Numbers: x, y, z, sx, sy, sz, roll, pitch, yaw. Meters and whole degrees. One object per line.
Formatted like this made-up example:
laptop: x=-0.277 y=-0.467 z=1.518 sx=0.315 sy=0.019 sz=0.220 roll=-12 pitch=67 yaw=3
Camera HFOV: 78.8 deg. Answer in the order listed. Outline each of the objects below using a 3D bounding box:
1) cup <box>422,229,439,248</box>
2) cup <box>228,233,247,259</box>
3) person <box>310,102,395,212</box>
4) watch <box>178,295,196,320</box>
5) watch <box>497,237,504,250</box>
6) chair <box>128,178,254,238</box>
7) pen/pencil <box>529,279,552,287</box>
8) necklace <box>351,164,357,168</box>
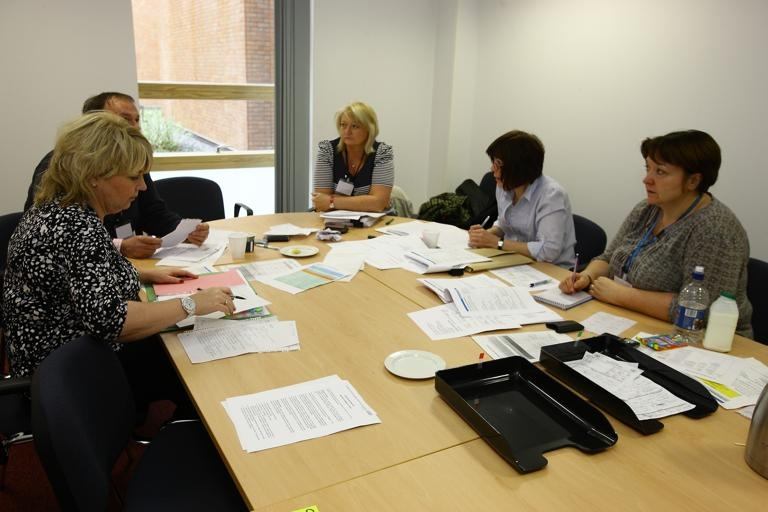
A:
cup: x=0.292 y=-0.109 z=2.943 sx=0.110 sy=0.084 sz=0.104 roll=-3 pitch=16 yaw=1
cup: x=-0.822 y=-0.054 z=2.660 sx=0.145 sy=0.136 sz=0.134 roll=0 pitch=6 yaw=0
person: x=-0.237 y=-0.768 z=3.683 sx=0.626 sy=0.817 sz=0.559 roll=-1 pitch=20 yaw=-3
watch: x=-0.810 y=0.220 z=1.962 sx=0.062 sy=0.088 sz=0.093 roll=-27 pitch=19 yaw=-34
watch: x=0.732 y=-0.074 z=2.938 sx=0.047 sy=0.059 sz=0.067 roll=9 pitch=30 yaw=4
chair: x=-1.617 y=-0.483 z=3.960 sx=0.603 sy=0.684 sz=0.609 roll=-10 pitch=15 yaw=-30
pen/pencil: x=0.840 y=0.150 z=2.512 sx=0.123 sy=0.015 sz=0.016 roll=-10 pitch=45 yaw=-31
necklace: x=-0.235 y=-0.730 z=3.832 sx=0.039 sy=0.033 sz=0.009 roll=-13 pitch=-7 yaw=1
